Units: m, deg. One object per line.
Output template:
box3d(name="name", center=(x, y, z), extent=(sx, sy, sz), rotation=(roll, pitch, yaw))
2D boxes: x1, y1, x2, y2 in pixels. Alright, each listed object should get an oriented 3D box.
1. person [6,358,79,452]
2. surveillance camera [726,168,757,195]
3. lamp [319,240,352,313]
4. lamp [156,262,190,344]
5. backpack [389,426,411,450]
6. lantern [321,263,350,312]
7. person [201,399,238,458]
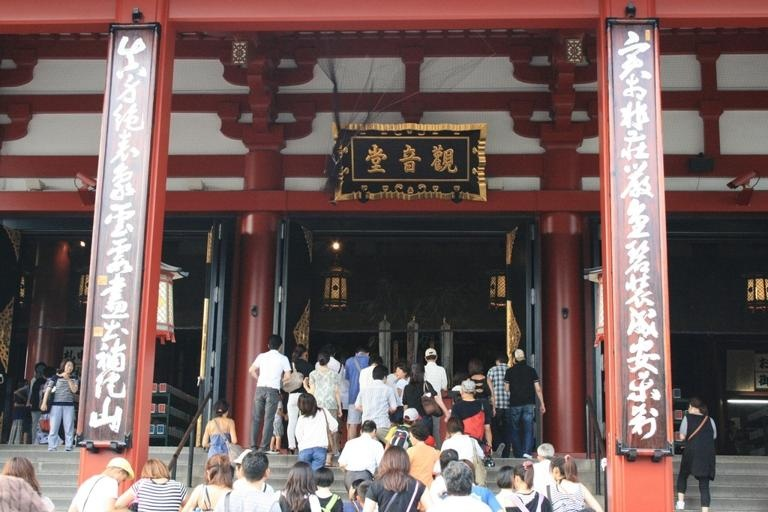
box3d(name="person", center=(-5.316, 2.359, 14.366), extent=(1.100, 1.902, 1.048), rotation=(4, 0, -3))
box3d(name="surveillance camera", center=(5.668, -1.172, 14.251), extent=(0.493, 0.218, 0.299), rotation=(-7, -34, 3))
box3d(name="lamp", center=(-0.959, 0.459, 18.959), extent=(0.435, 1.619, 0.490), rotation=(6, -10, -34))
box3d(name="lamp", center=(-3.093, 0.643, 13.127), extent=(0.332, 1.250, 1.204), rotation=(4, -15, -12))
box3d(name="backpack", center=(0.190, 2.168, 10.828), extent=(0.239, 0.317, 0.172), rotation=(4, -49, 6))
box3d(name="lantern", center=(-1.360, 0.691, 18.934), extent=(0.855, 1.178, 0.792), rotation=(2, -11, -6))
box3d(name="person", center=(-2.133, 2.207, 11.821), extent=(0.405, 0.708, 0.650), rotation=(4, -15, -10))
